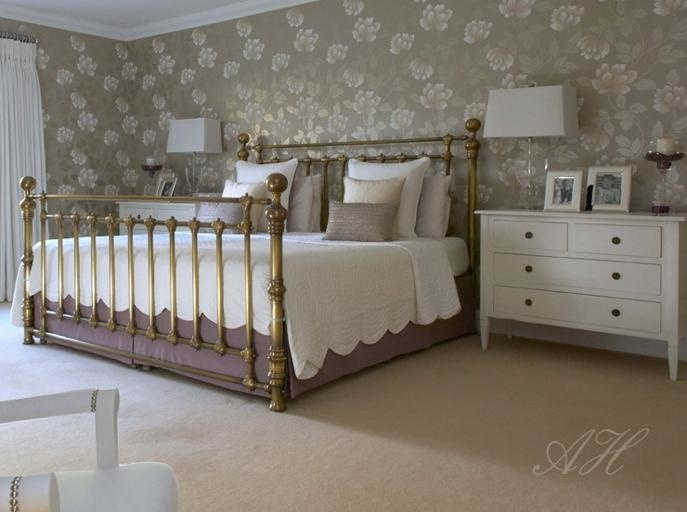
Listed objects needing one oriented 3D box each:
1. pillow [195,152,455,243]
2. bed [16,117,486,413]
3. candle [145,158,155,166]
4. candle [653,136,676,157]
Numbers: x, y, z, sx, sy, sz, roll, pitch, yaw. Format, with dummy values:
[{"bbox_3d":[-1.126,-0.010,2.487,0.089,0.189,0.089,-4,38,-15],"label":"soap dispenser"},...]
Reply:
[{"bbox_3d":[-0.042,-0.399,4.078,0.700,0.607,0.973,2,2,28],"label":"pillow"},{"bbox_3d":[-0.311,0.156,3.827,2.084,1.594,2.109,1,2,40],"label":"bed"},{"bbox_3d":[-1.923,-0.947,5.877,0.089,0.068,0.096,3,7,14],"label":"candle"},{"bbox_3d":[1.902,-0.646,3.454,0.101,0.097,0.128,5,12,26],"label":"candle"}]
